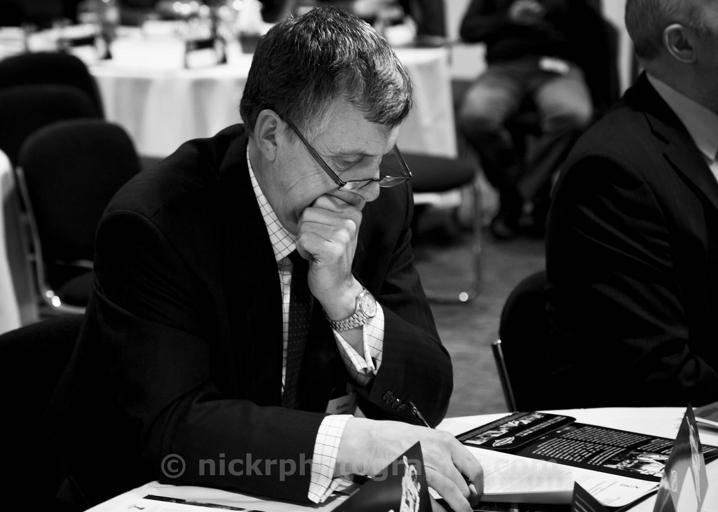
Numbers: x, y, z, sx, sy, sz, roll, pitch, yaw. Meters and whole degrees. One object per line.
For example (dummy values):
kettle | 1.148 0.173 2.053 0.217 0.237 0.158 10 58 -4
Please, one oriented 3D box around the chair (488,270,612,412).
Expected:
chair | 0.479 0.238 2.244 0.275 0.308 0.338 -3 -6 -38

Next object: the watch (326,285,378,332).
watch | -0.026 0.133 1.993 0.097 0.043 0.105 -22 11 34
